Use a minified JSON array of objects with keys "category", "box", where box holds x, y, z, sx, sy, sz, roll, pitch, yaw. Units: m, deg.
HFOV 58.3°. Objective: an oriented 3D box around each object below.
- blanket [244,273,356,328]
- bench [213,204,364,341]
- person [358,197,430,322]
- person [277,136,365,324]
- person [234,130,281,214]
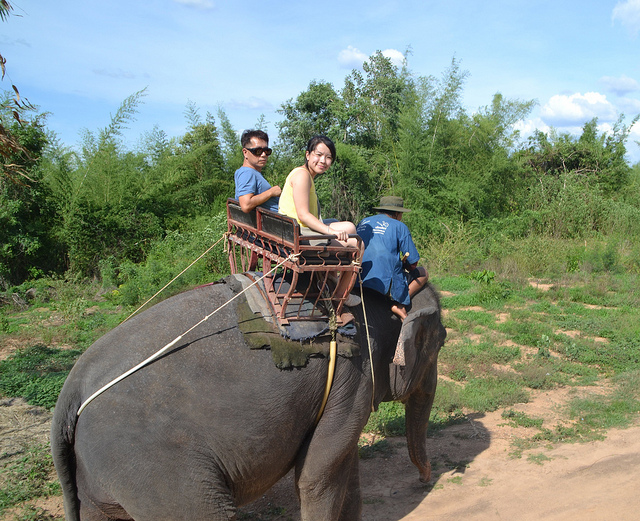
[{"category":"blanket","box":[0.021,0.397,4.598,0.542,0.160,0.568,17,29,-34]},{"category":"bench","box":[-0.287,-0.041,5.097,0.692,0.866,1.688,1,10,-28]},{"category":"person","box":[0.607,-0.040,5.609,0.702,1.230,0.588,8,8,40]},{"category":"person","box":[0.004,-0.235,4.874,0.728,1.553,0.555,5,9,7]},{"category":"person","box":[-0.542,-0.774,5.175,0.386,0.767,0.716,-3,-1,5]}]
